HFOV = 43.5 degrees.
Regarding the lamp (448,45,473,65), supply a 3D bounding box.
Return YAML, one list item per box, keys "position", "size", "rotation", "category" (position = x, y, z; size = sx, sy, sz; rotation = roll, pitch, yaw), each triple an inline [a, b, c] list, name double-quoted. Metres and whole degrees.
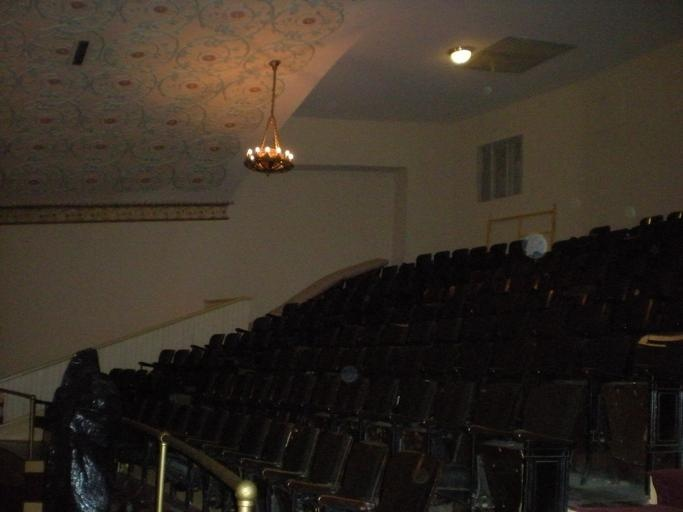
- position: [1.571, -2.573, 11.221]
  size: [0.303, 0.139, 0.537]
  rotation: [1, -15, 7]
  category: "lamp"
